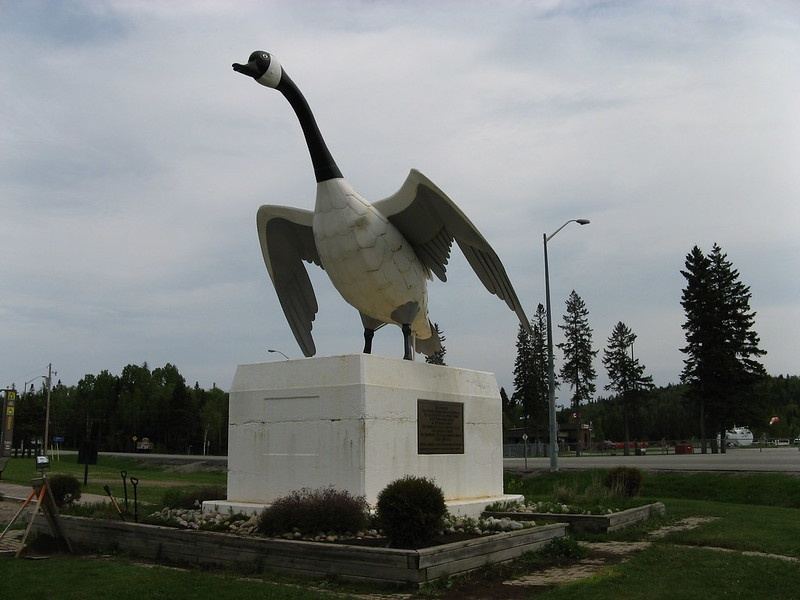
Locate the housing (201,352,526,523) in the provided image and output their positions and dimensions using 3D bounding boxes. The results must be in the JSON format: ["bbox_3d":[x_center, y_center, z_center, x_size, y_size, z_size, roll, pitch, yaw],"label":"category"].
[{"bbox_3d":[-0.668,3.098,19.256,6.218,3.363,2.837,5,-15,-24],"label":"housing"}]
